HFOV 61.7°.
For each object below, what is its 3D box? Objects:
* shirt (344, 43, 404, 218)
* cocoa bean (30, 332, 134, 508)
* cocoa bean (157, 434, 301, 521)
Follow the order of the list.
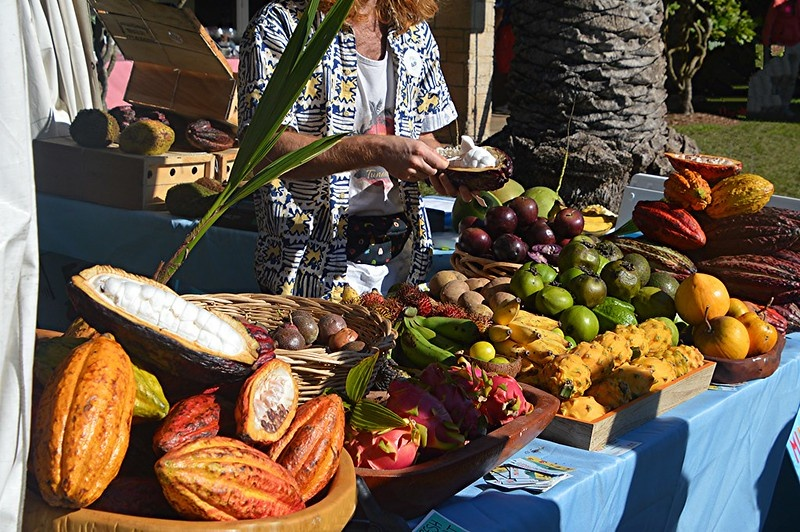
[{"bbox_3d":[-0.137,-0.628,3.062,0.356,0.865,0.113,-4,16,-14],"label":"shirt"},{"bbox_3d":[-0.727,0.377,1.623,0.195,0.372,0.199,-16,-29,36],"label":"cocoa bean"},{"bbox_3d":[-0.385,0.501,1.589,0.316,0.163,0.174,25,27,-17],"label":"cocoa bean"}]
